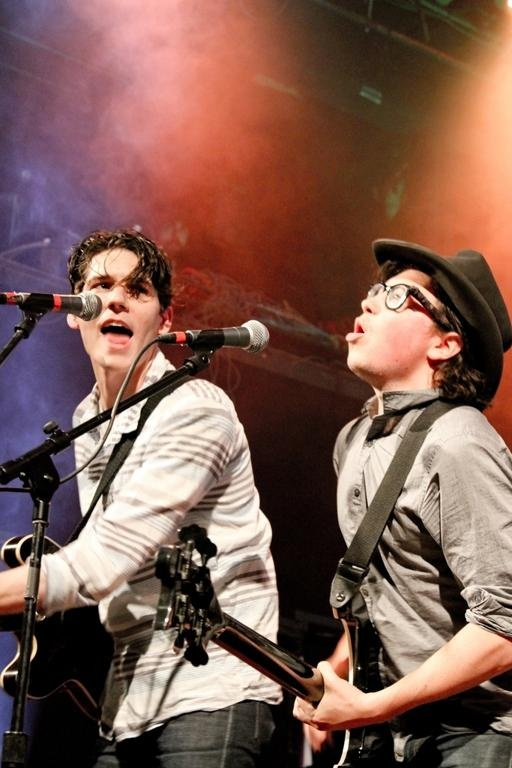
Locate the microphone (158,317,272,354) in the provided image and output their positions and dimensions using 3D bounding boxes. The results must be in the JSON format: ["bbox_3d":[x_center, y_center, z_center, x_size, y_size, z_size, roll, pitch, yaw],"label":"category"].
[{"bbox_3d":[-0.087,-0.138,2.222,0.401,0.089,0.104,-3,-4,-41],"label":"microphone"}]

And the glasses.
[{"bbox_3d":[0.463,-0.206,2.388,0.193,0.049,0.177,20,2,-15],"label":"glasses"}]
